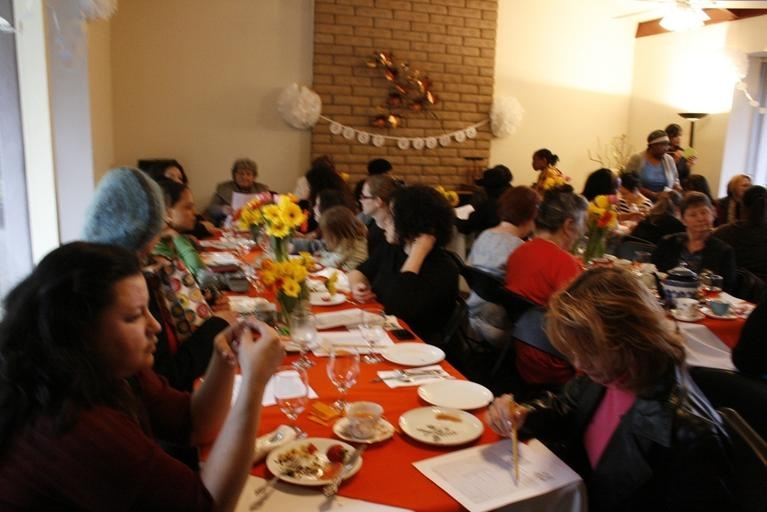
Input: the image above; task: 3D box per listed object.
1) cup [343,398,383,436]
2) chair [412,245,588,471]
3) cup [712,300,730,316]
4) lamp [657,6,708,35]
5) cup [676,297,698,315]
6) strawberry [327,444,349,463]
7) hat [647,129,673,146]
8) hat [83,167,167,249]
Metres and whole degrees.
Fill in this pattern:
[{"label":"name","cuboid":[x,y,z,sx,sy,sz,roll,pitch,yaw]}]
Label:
[{"label":"cup","cuboid":[-0.068,0.522,1.721,0.096,0.068,0.097,0,6,0]},{"label":"chair","cuboid":[0.773,0.336,2.750,0.790,1.092,0.624,-8,15,-37]},{"label":"cup","cuboid":[1.877,0.285,2.949,0.079,0.063,0.085,0,3,0]},{"label":"lamp","cuboid":[2.648,-2.100,4.675,0.395,0.198,0.278,-17,21,-40]},{"label":"cup","cuboid":[1.673,0.269,2.927,0.087,0.073,0.093,-5,3,0]},{"label":"strawberry","cuboid":[-0.146,0.594,1.595,0.040,0.046,0.031,-41,69,-17]},{"label":"hat","cuboid":[3.464,-1.489,6.653,0.234,0.154,0.232,-20,24,-41]},{"label":"hat","cuboid":[-0.981,-0.192,2.149,0.250,0.335,0.344,11,3,37]}]
